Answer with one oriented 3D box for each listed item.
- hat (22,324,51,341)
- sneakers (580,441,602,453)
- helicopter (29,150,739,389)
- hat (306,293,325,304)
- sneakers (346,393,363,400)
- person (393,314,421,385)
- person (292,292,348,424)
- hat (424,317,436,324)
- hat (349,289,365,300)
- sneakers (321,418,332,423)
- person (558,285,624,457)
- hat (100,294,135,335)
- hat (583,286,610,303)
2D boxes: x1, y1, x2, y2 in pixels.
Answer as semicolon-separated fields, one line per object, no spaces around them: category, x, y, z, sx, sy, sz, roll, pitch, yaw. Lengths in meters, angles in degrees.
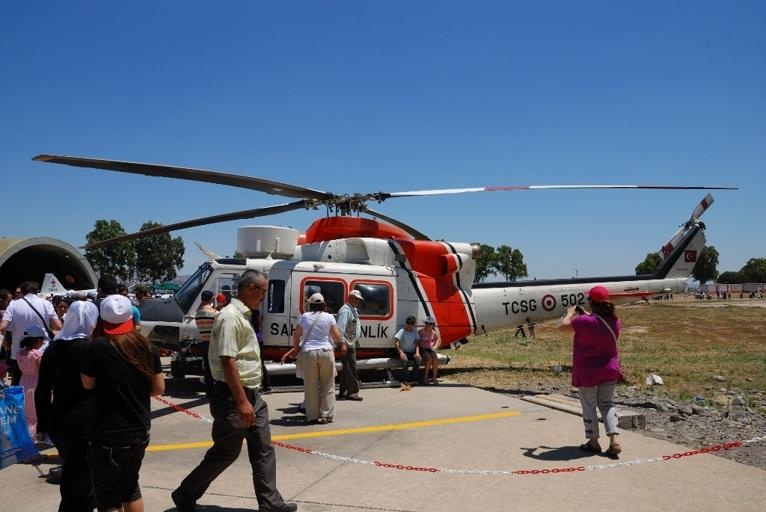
hat;-5.249;1.170;8.225;0.314;0.122;0.400;6;-3;-31
sneakers;3.119;2.933;8.278;0.301;0.095;0.133;4;2;44
helicopter;0.736;0.448;12.742;9.574;2.561;7.930;5;-6;-20
hat;-1.234;0.796;9.971;0.284;0.123;0.369;1;0;-7
sneakers;-0.601;2.988;11.372;0.357;0.184;0.110;0;-4;-9
person;0.563;2.272;12.871;0.610;1.611;1.187;-1;-2;0
person;-1.146;1.847;9.643;0.825;2.279;0.531;-1;-2;-6
hat;1.115;1.594;13.292;0.194;0.059;0.203;6;-6;34
hat;-0.567;0.817;11.325;0.272;0.088;0.312;8;-9;11
sneakers;-0.995;2.937;9.574;0.124;0.060;0.144;0;-12;1
person;3.124;1.731;8.115;0.754;2.529;0.408;-2;-2;14
hat;-2.827;0.649;5.781;0.341;0.451;0.173;-15;-39;-29
hat;3.295;0.587;8.395;0.389;0.214;0.511;2;9;14
